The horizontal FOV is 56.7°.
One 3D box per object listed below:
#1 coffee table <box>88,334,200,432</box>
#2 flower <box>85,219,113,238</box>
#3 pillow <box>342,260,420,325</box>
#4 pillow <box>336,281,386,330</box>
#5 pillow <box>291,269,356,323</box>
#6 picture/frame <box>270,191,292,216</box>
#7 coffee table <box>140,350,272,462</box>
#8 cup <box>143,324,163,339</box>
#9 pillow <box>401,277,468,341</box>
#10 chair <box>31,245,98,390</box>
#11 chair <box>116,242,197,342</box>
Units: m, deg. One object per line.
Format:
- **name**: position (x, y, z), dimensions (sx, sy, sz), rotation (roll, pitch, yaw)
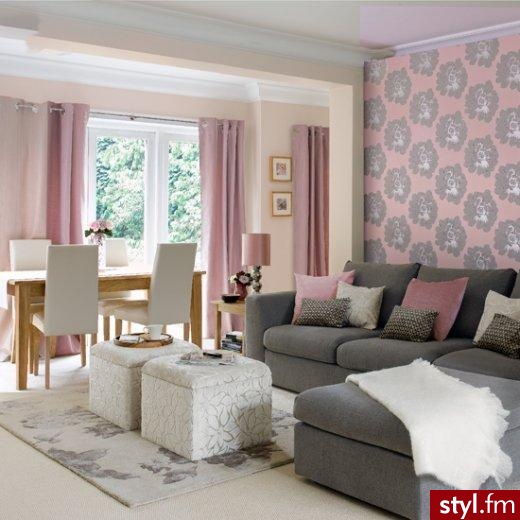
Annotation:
- **coffee table**: position (-0.757, 0.728, 3.004), dimensions (0.503, 0.384, 0.521), rotation (2, -2, -41)
- **flower**: position (-1.506, -0.270, 4.518), dimensions (0.190, 0.162, 0.192), rotation (-2, -3, 40)
- **pillow**: position (0.912, 0.211, 3.823), dimensions (0.553, 0.388, 0.206), rotation (4, -35, 28)
- **pillow**: position (0.742, 0.358, 3.692), dimensions (0.385, 0.311, 0.194), rotation (7, 8, 40)
- **pillow**: position (0.498, 0.317, 3.943), dimensions (0.483, 0.428, 0.184), rotation (1, -3, 26)
- **picture/frame**: position (0.240, -0.686, 5.829), dimensions (0.321, 0.290, 0.041), rotation (-1, 1, -36)
- **coffee table**: position (-0.262, 0.707, 2.475), dimensions (0.493, 0.362, 0.501), rotation (2, -4, -35)
- **cup**: position (-0.691, 0.466, 3.115), dimensions (0.102, 0.071, 0.086), rotation (0, 0, 6)
- **pillow**: position (1.182, 0.296, 3.243), dimensions (0.133, 0.404, 0.434), rotation (32, -18, -33)
- **chair**: position (-1.578, 0.433, 3.904), dimensions (0.515, 1.053, 0.611), rotation (0, 2, -27)
- **chair**: position (-0.933, 0.363, 4.359), dimensions (0.623, 1.042, 0.666), rotation (-5, 11, -37)
